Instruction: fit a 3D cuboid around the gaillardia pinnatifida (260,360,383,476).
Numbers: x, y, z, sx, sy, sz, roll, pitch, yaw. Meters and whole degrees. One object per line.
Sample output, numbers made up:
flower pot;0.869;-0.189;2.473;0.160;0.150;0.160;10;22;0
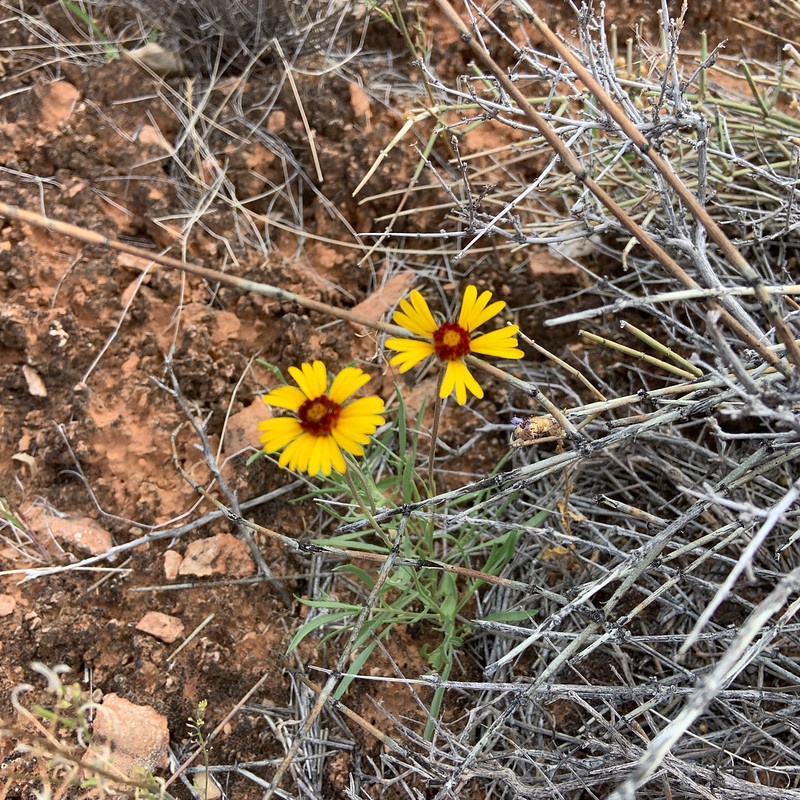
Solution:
gaillardia pinnatifida;-0.192;0.037;2.196;0.326;0.091;0.282;-14;56;13

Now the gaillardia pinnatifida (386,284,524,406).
gaillardia pinnatifida;0.122;-0.123;2.259;0.347;0.110;0.380;-24;42;-30
